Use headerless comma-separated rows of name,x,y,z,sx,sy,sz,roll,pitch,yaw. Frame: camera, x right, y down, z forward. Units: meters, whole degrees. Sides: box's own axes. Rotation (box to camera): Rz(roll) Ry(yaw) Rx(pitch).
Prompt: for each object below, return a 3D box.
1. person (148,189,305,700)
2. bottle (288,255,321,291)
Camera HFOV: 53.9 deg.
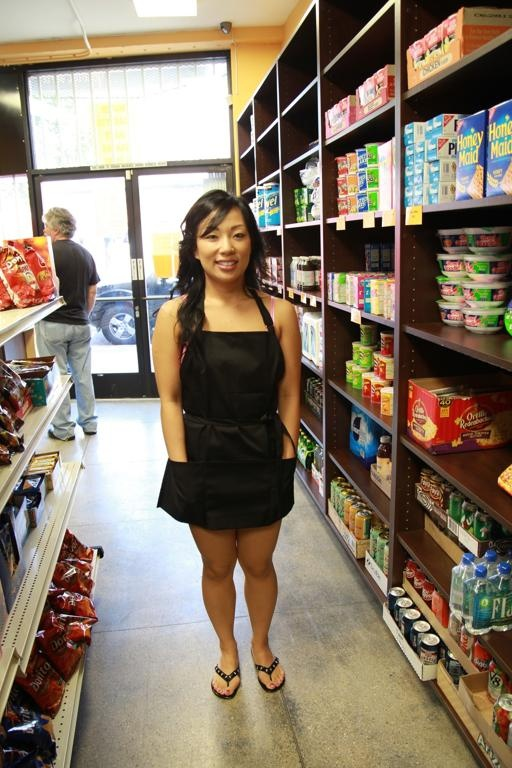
person,-0.069,0.252,1.470,0.435,1.531,0.325,-4,8,-13
bottle,0.256,-0.687,3.133,0.155,0.259,0.254,-8,12,-38
